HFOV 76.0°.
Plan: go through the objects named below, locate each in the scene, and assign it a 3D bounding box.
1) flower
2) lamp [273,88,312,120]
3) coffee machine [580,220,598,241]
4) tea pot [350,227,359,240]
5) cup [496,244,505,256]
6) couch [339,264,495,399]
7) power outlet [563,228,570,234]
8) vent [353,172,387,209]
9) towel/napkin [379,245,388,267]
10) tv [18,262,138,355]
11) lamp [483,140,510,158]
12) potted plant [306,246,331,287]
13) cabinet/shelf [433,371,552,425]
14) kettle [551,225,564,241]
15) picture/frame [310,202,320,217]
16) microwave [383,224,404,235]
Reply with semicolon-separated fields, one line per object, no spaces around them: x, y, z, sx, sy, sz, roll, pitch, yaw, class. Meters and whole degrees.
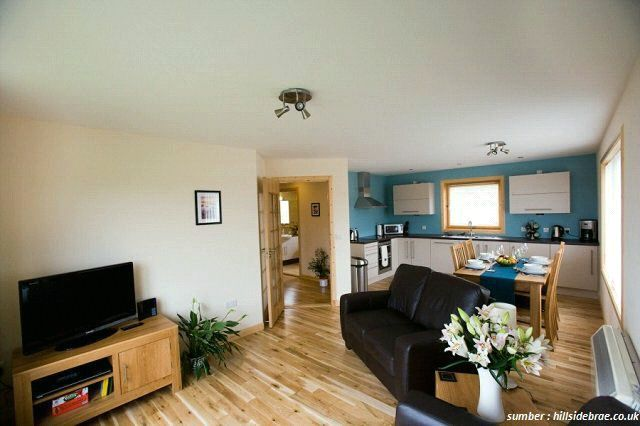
1.495;1.057;3.630;0.789;0.635;0.831;4;-9;8;flower
-0.268;-1.088;4.138;0.367;0.223;0.473;-2;1;-8;lamp
4.507;0.290;6.873;0.249;0.347;0.214;-1;2;33;coffee machine
0.703;0.440;8.338;0.231;0.217;0.172;-4;-3;12;tea pot
3.323;0.676;7.540;0.140;0.201;0.090;-2;2;25;cup
1.053;1.254;4.877;1.214;1.433;2.043;2;-2;-14;couch
4.370;0.322;7.273;0.112;0.087;0.088;-1;-2;11;power outlet
1.040;-0.488;8.643;0.674;0.747;0.607;-3;4;-32;vent
1.344;0.897;8.547;0.054;0.490;0.446;-1;2;32;towel/napkin
-2.611;1.028;4.327;0.982;0.697;0.266;-7;3;-43;tv
2.642;-0.970;6.099;0.289;0.137;0.356;4;4;31;lamp
0.000;1.069;8.229;0.347;0.732;0.757;-3;1;-15;potted plant
1.467;1.645;3.616;0.484;0.170;0.704;3;-2;-32;cabinet/shelf
4.173;0.341;7.175;0.206;0.253;0.351;-1;1;29;kettle
-0.089;-0.074;8.435;0.049;0.299;0.282;-4;2;-37;picture/frame
1.635;0.371;9.168;0.386;0.240;0.241;0;-3;-24;microwave
